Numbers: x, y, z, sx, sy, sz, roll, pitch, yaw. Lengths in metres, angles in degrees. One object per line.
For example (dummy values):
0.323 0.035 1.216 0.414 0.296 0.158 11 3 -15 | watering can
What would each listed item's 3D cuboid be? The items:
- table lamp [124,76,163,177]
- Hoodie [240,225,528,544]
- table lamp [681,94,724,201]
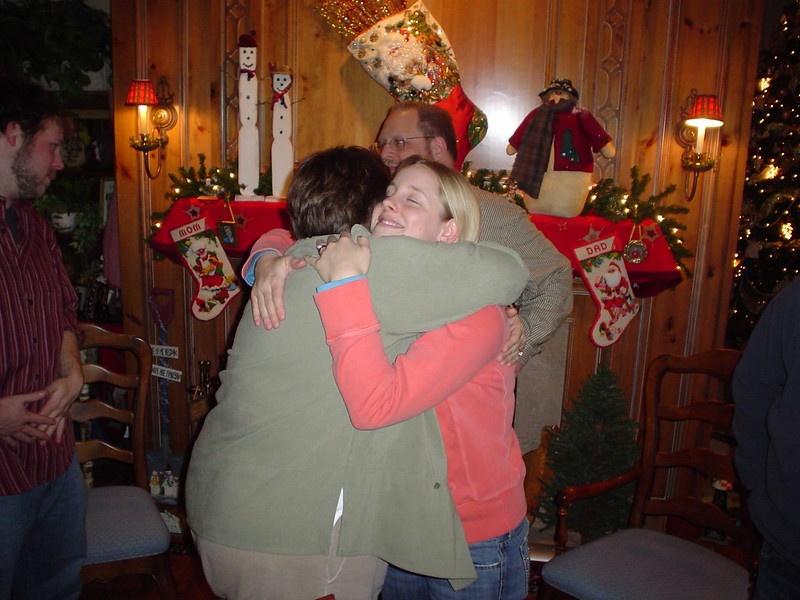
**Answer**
-1.734 -1.191 4.629 0.243 0.685 0.309 -1 9 -20 | table lamp
-0.152 0.406 2.312 0.918 1.034 0.919 -4 5 -10 | Hoodie
1.917 -0.980 4.298 0.255 0.656 0.218 9 12 33 | table lamp
